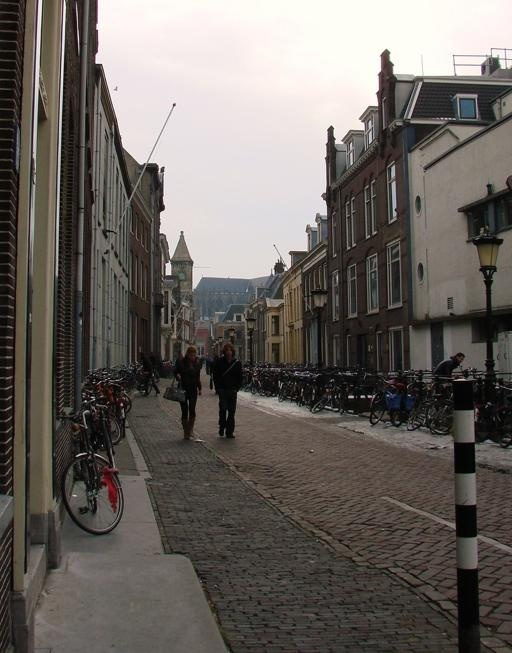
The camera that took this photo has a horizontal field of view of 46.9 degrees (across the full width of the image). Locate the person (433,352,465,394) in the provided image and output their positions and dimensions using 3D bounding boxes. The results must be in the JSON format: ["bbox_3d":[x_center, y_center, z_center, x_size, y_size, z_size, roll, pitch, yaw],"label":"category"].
[{"bbox_3d":[4.551,1.085,14.038,0.633,0.918,2.404,-1,-2,18],"label":"person"}]
